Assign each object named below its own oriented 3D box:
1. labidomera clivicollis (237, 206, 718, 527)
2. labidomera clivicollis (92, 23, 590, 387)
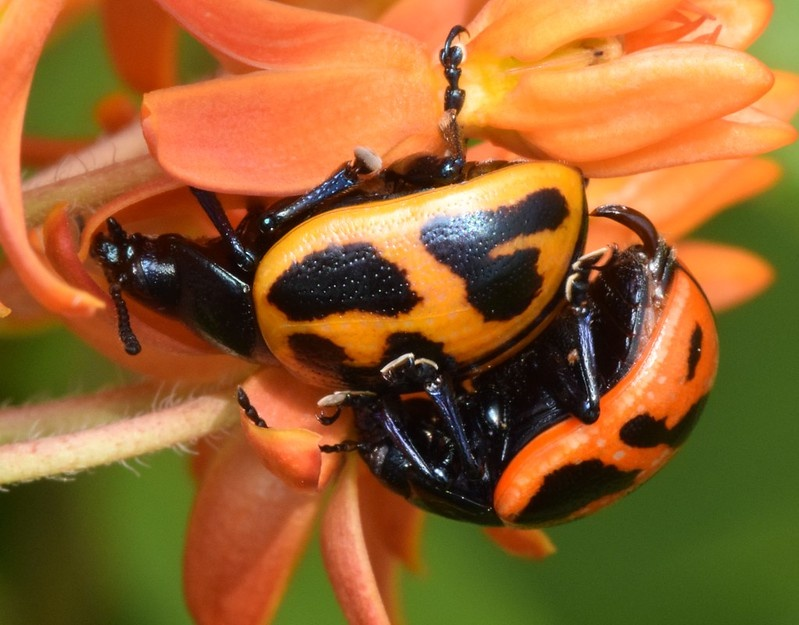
[{"bbox_3d":[0.026,0.028,0.814,0.362,0.260,0.093,-8,53,-5],"label":"labidomera clivicollis"},{"bbox_3d":[-0.027,-0.066,0.783,0.337,0.277,0.092,-4,38,3],"label":"labidomera clivicollis"}]
